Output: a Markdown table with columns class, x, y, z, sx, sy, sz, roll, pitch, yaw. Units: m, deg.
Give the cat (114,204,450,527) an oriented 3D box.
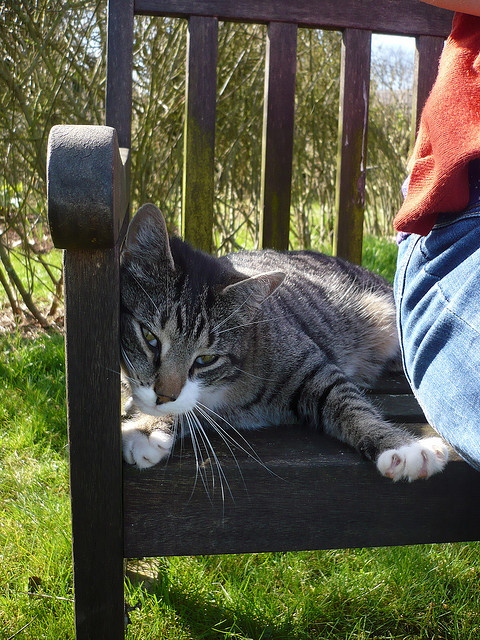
| class | x | y | z | sx | sy | sz | roll | pitch | yaw |
| --- | --- | --- | --- | --- | --- | --- | --- | --- | --- |
| cat | 0.053 | 0.062 | 1.481 | 0.442 | 0.422 | 0.743 | -2 | 11 | 28 |
